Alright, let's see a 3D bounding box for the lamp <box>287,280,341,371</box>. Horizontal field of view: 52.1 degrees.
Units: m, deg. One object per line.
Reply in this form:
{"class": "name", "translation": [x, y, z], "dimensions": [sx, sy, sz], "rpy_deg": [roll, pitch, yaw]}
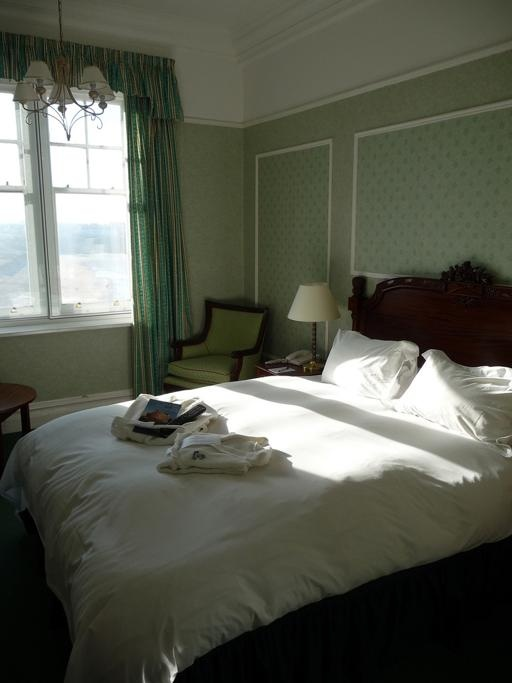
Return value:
{"class": "lamp", "translation": [0.465, -0.115, 4.232], "dimensions": [0.387, 0.738, 0.380], "rpy_deg": [-8, 24, -10]}

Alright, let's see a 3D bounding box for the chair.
{"class": "chair", "translation": [-0.346, 0.161, 4.960], "dimensions": [0.763, 1.022, 0.903], "rpy_deg": [11, 12, 37]}
